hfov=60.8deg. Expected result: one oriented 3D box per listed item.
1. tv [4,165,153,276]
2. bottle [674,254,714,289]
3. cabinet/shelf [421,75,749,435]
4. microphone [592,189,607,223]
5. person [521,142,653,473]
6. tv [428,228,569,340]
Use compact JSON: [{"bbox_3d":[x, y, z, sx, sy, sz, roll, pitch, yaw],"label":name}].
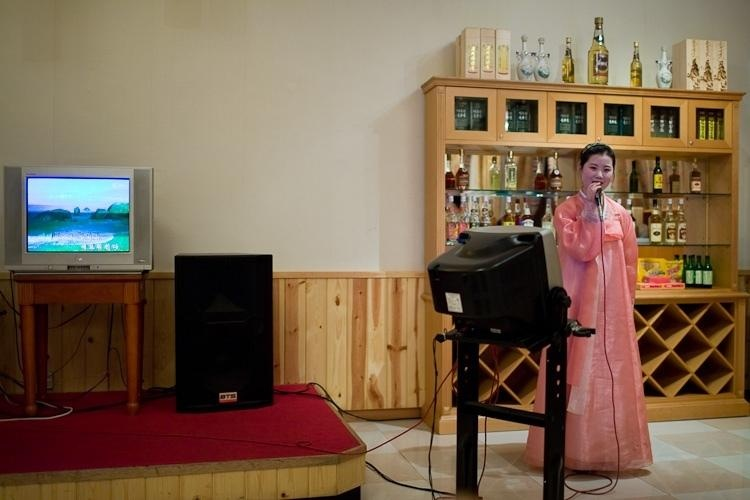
[{"bbox_3d":[-2.119,-0.223,4.571,1.032,0.772,0.247,3,13,-10],"label":"tv"},{"bbox_3d":[2.799,0.194,5.599,0.284,0.366,0.096,1,-10,-2],"label":"bottle"},{"bbox_3d":[1.543,0.036,4.845,2.989,3.225,0.767,0,-3,-8],"label":"cabinet/shelf"},{"bbox_3d":[1.519,-0.298,4.306,0.074,0.228,0.071,1,-7,11],"label":"microphone"},{"bbox_3d":[1.629,0.419,4.437,0.724,2.230,0.679,2,13,-16],"label":"person"},{"bbox_3d":[0.684,0.164,3.686,0.678,0.634,0.617,-20,14,-40],"label":"tv"}]
